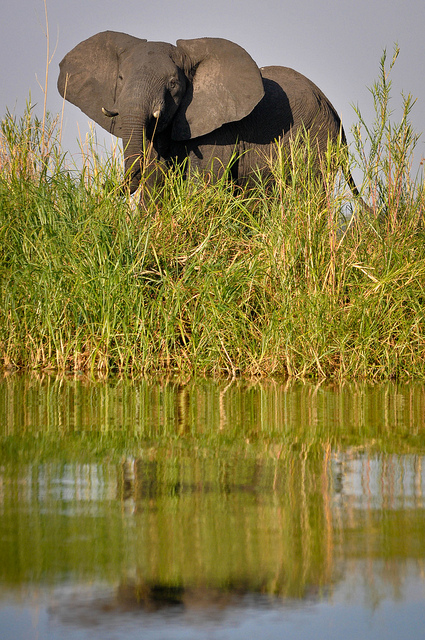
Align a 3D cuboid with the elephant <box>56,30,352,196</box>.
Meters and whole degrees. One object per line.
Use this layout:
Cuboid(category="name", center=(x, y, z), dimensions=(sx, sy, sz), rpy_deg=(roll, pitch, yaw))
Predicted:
Cuboid(category="elephant", center=(-0.040, -1.067, 5.779), dimensions=(1.337, 0.803, 1.024), rpy_deg=(-4, 9, -20))
